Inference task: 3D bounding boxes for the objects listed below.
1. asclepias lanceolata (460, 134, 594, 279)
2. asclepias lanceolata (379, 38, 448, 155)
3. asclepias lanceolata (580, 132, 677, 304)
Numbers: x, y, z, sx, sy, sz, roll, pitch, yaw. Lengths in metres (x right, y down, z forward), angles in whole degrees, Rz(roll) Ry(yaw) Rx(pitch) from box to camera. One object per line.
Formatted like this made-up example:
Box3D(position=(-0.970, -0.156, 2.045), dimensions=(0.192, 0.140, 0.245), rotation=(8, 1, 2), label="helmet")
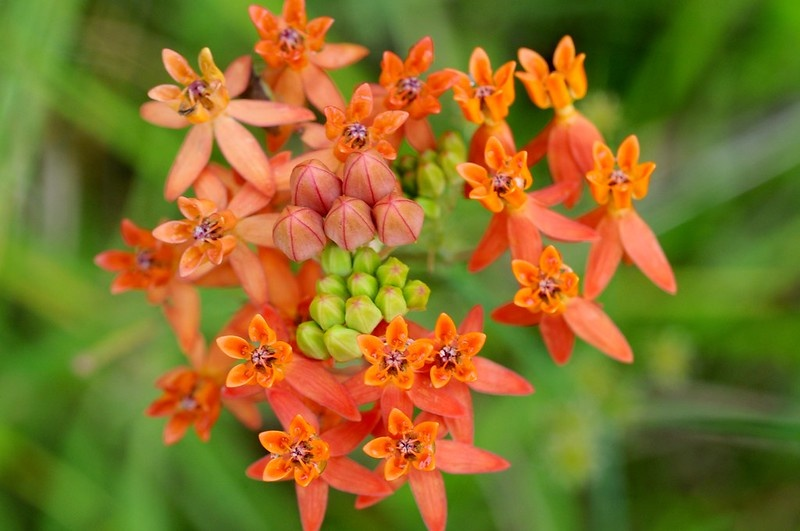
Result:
Box3D(position=(0.233, -0.105, 1.654), dimensions=(0.287, 0.279, 0.156), rotation=(-9, 80, 4), label="asclepias lanceolata")
Box3D(position=(0.024, -0.354, 1.726), dimensions=(0.178, 0.100, 0.213), rotation=(-6, 92, -7), label="asclepias lanceolata")
Box3D(position=(0.446, -0.102, 1.709), dimensions=(0.203, 0.162, 0.319), rotation=(-7, 63, 0), label="asclepias lanceolata")
